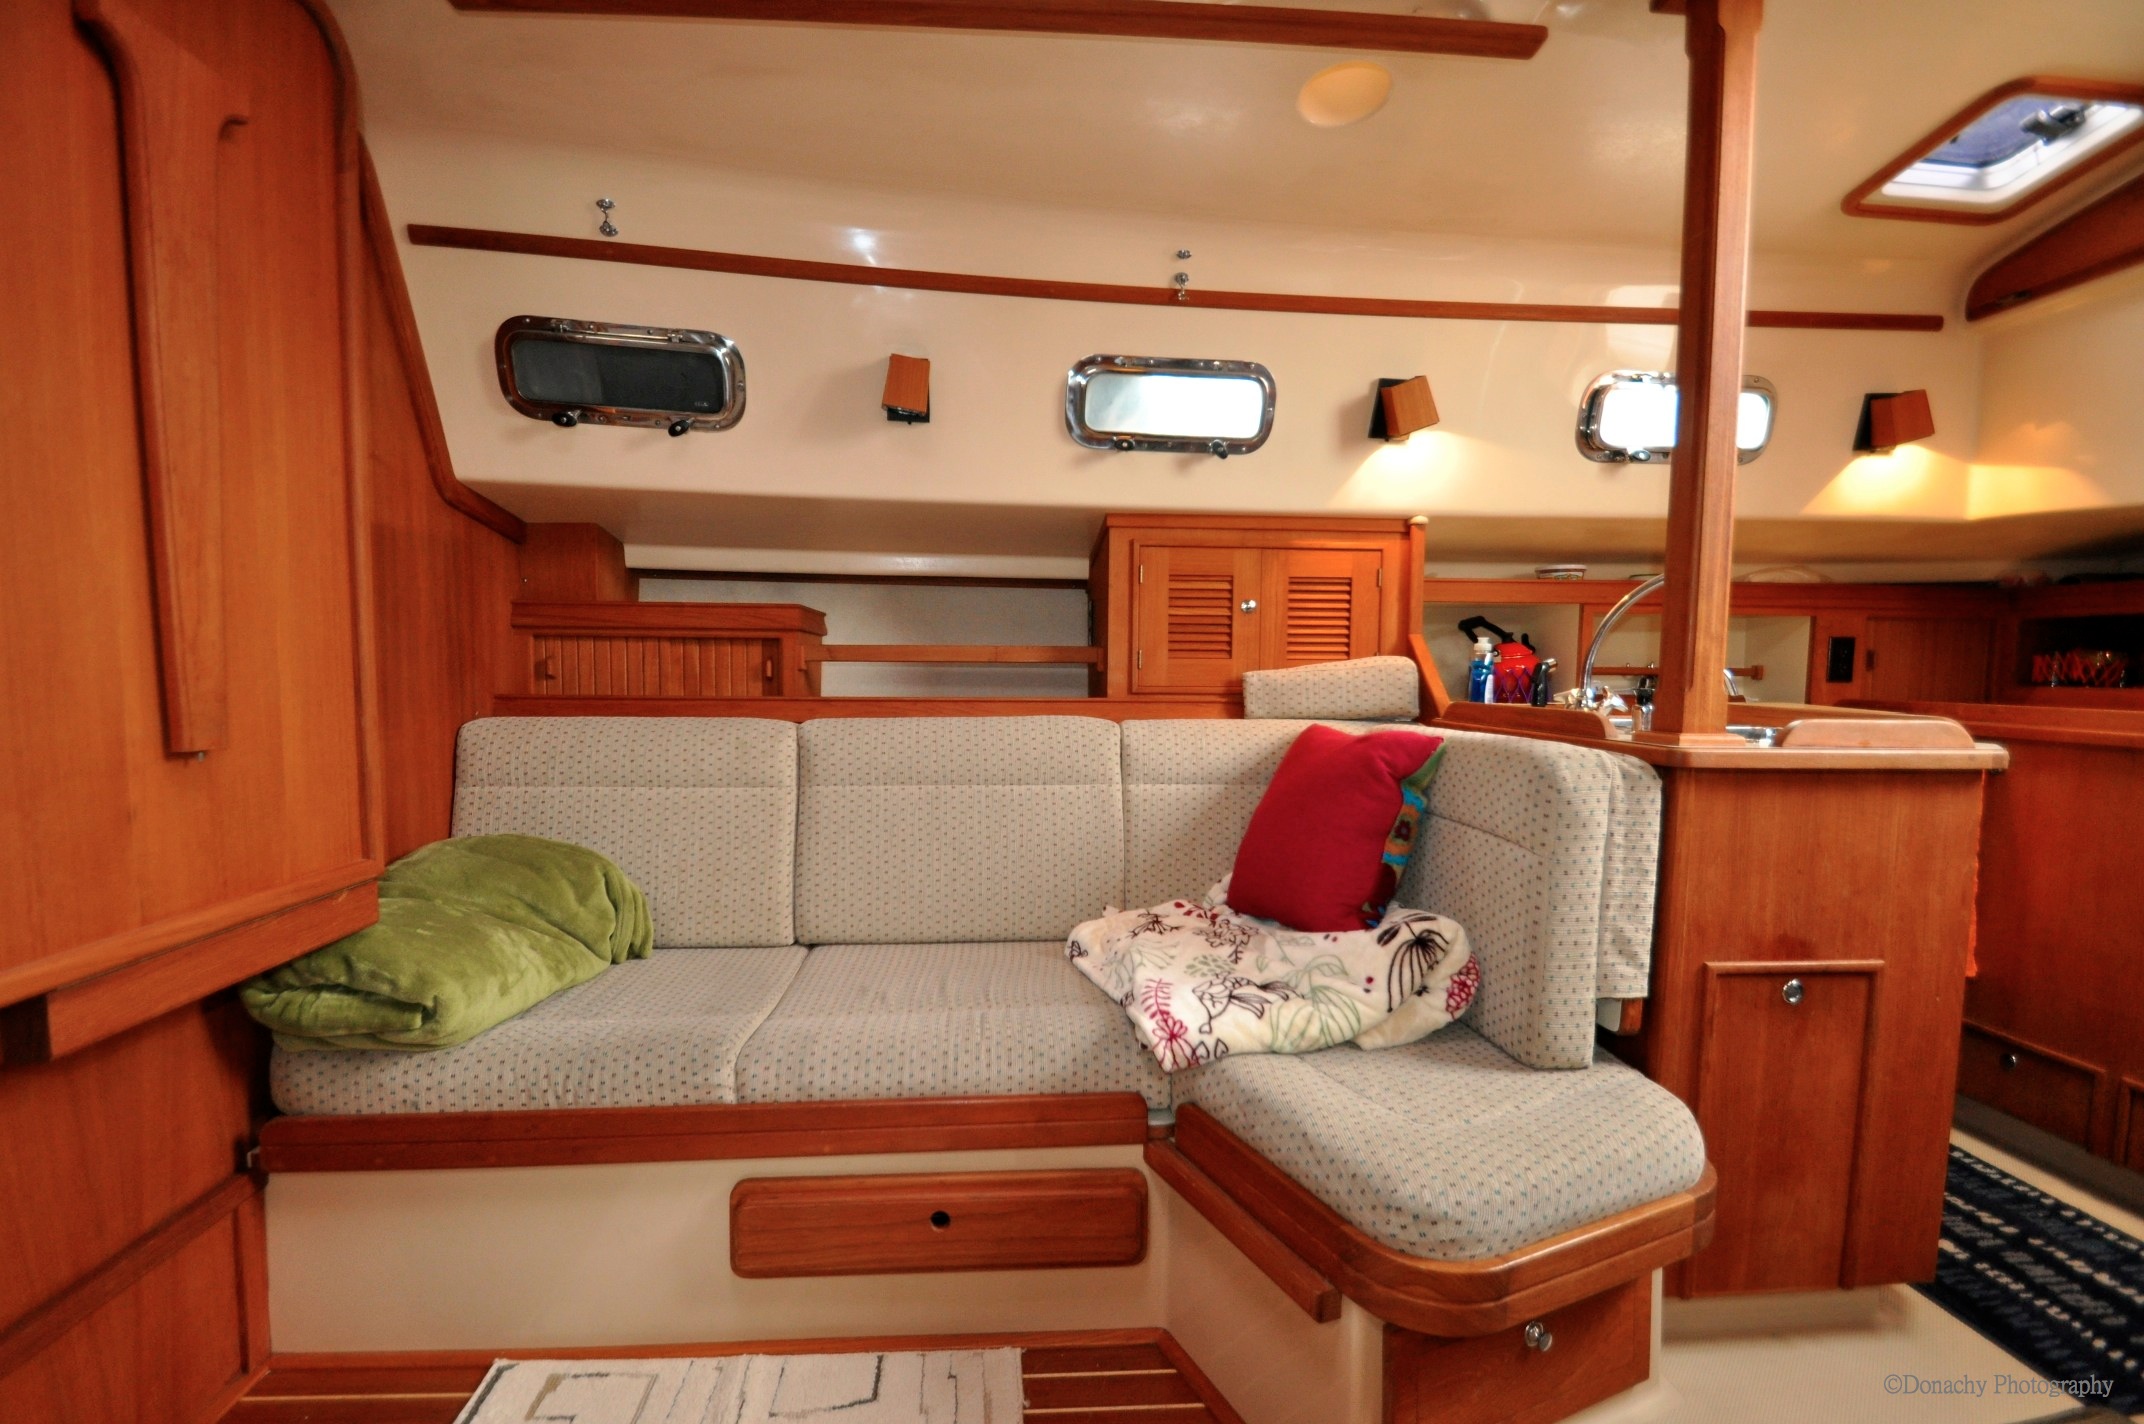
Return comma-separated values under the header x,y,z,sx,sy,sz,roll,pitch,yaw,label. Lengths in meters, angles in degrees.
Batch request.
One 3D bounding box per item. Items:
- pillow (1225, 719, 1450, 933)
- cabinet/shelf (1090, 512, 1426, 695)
x,y,z,sx,sy,sz,roll,pitch,yaw,label
0.627,0.267,3.692,0.335,0.444,0.592,-5,6,-22,pillow
0.582,-0.310,4.529,0.922,0.579,0.241,-1,6,10,cabinet/shelf
